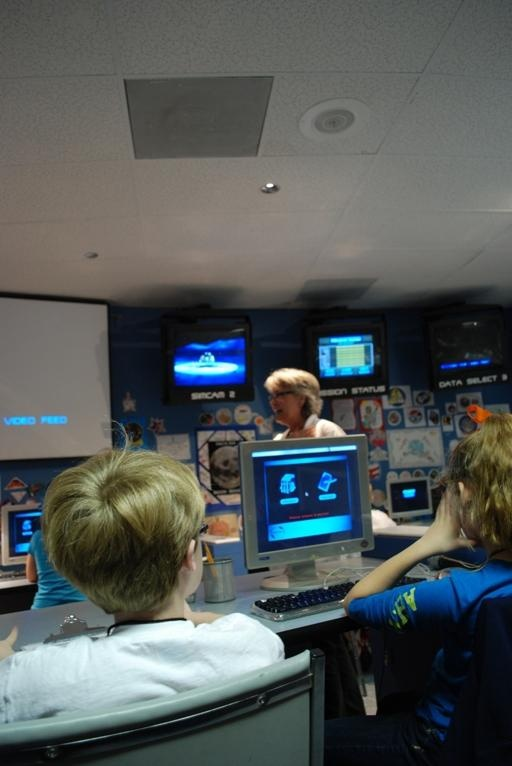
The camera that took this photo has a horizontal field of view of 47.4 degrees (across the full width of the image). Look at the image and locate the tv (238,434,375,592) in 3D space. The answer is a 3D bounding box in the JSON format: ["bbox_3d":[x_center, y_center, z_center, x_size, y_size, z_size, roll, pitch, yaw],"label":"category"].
[{"bbox_3d":[0.148,0.424,1.976,0.480,0.449,0.164,-1,-7,-25],"label":"tv"}]

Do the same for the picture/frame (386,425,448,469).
[{"bbox_3d":[1.356,0.548,4.979,0.588,0.398,0.058,-2,-2,-12],"label":"picture/frame"}]

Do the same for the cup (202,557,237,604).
[{"bbox_3d":[-0.104,0.577,1.736,0.107,0.113,0.108,0,0,0],"label":"cup"}]

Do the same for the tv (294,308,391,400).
[{"bbox_3d":[0.734,-0.262,4.743,0.638,0.593,0.341,-4,23,4],"label":"tv"}]

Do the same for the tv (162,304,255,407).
[{"bbox_3d":[-0.340,-0.144,4.217,0.641,0.562,0.223,-3,-9,-7],"label":"tv"}]
